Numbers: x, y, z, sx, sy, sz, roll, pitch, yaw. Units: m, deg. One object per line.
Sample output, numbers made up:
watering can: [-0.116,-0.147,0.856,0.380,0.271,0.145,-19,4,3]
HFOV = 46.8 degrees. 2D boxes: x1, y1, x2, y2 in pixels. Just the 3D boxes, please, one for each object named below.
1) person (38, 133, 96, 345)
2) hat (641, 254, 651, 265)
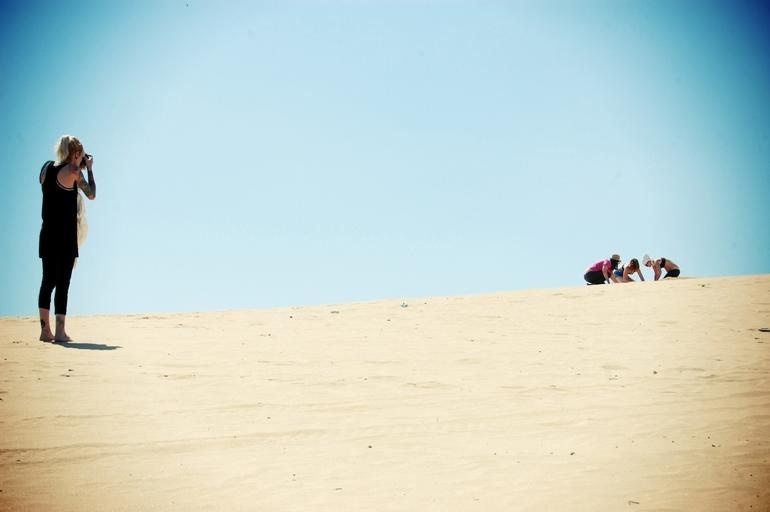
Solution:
person: [-4.385,-0.225,12.178,0.665,2.835,0.737,1,-4,0]
hat: [4.610,0.079,15.644,0.178,0.227,0.121,-9,-10,42]
